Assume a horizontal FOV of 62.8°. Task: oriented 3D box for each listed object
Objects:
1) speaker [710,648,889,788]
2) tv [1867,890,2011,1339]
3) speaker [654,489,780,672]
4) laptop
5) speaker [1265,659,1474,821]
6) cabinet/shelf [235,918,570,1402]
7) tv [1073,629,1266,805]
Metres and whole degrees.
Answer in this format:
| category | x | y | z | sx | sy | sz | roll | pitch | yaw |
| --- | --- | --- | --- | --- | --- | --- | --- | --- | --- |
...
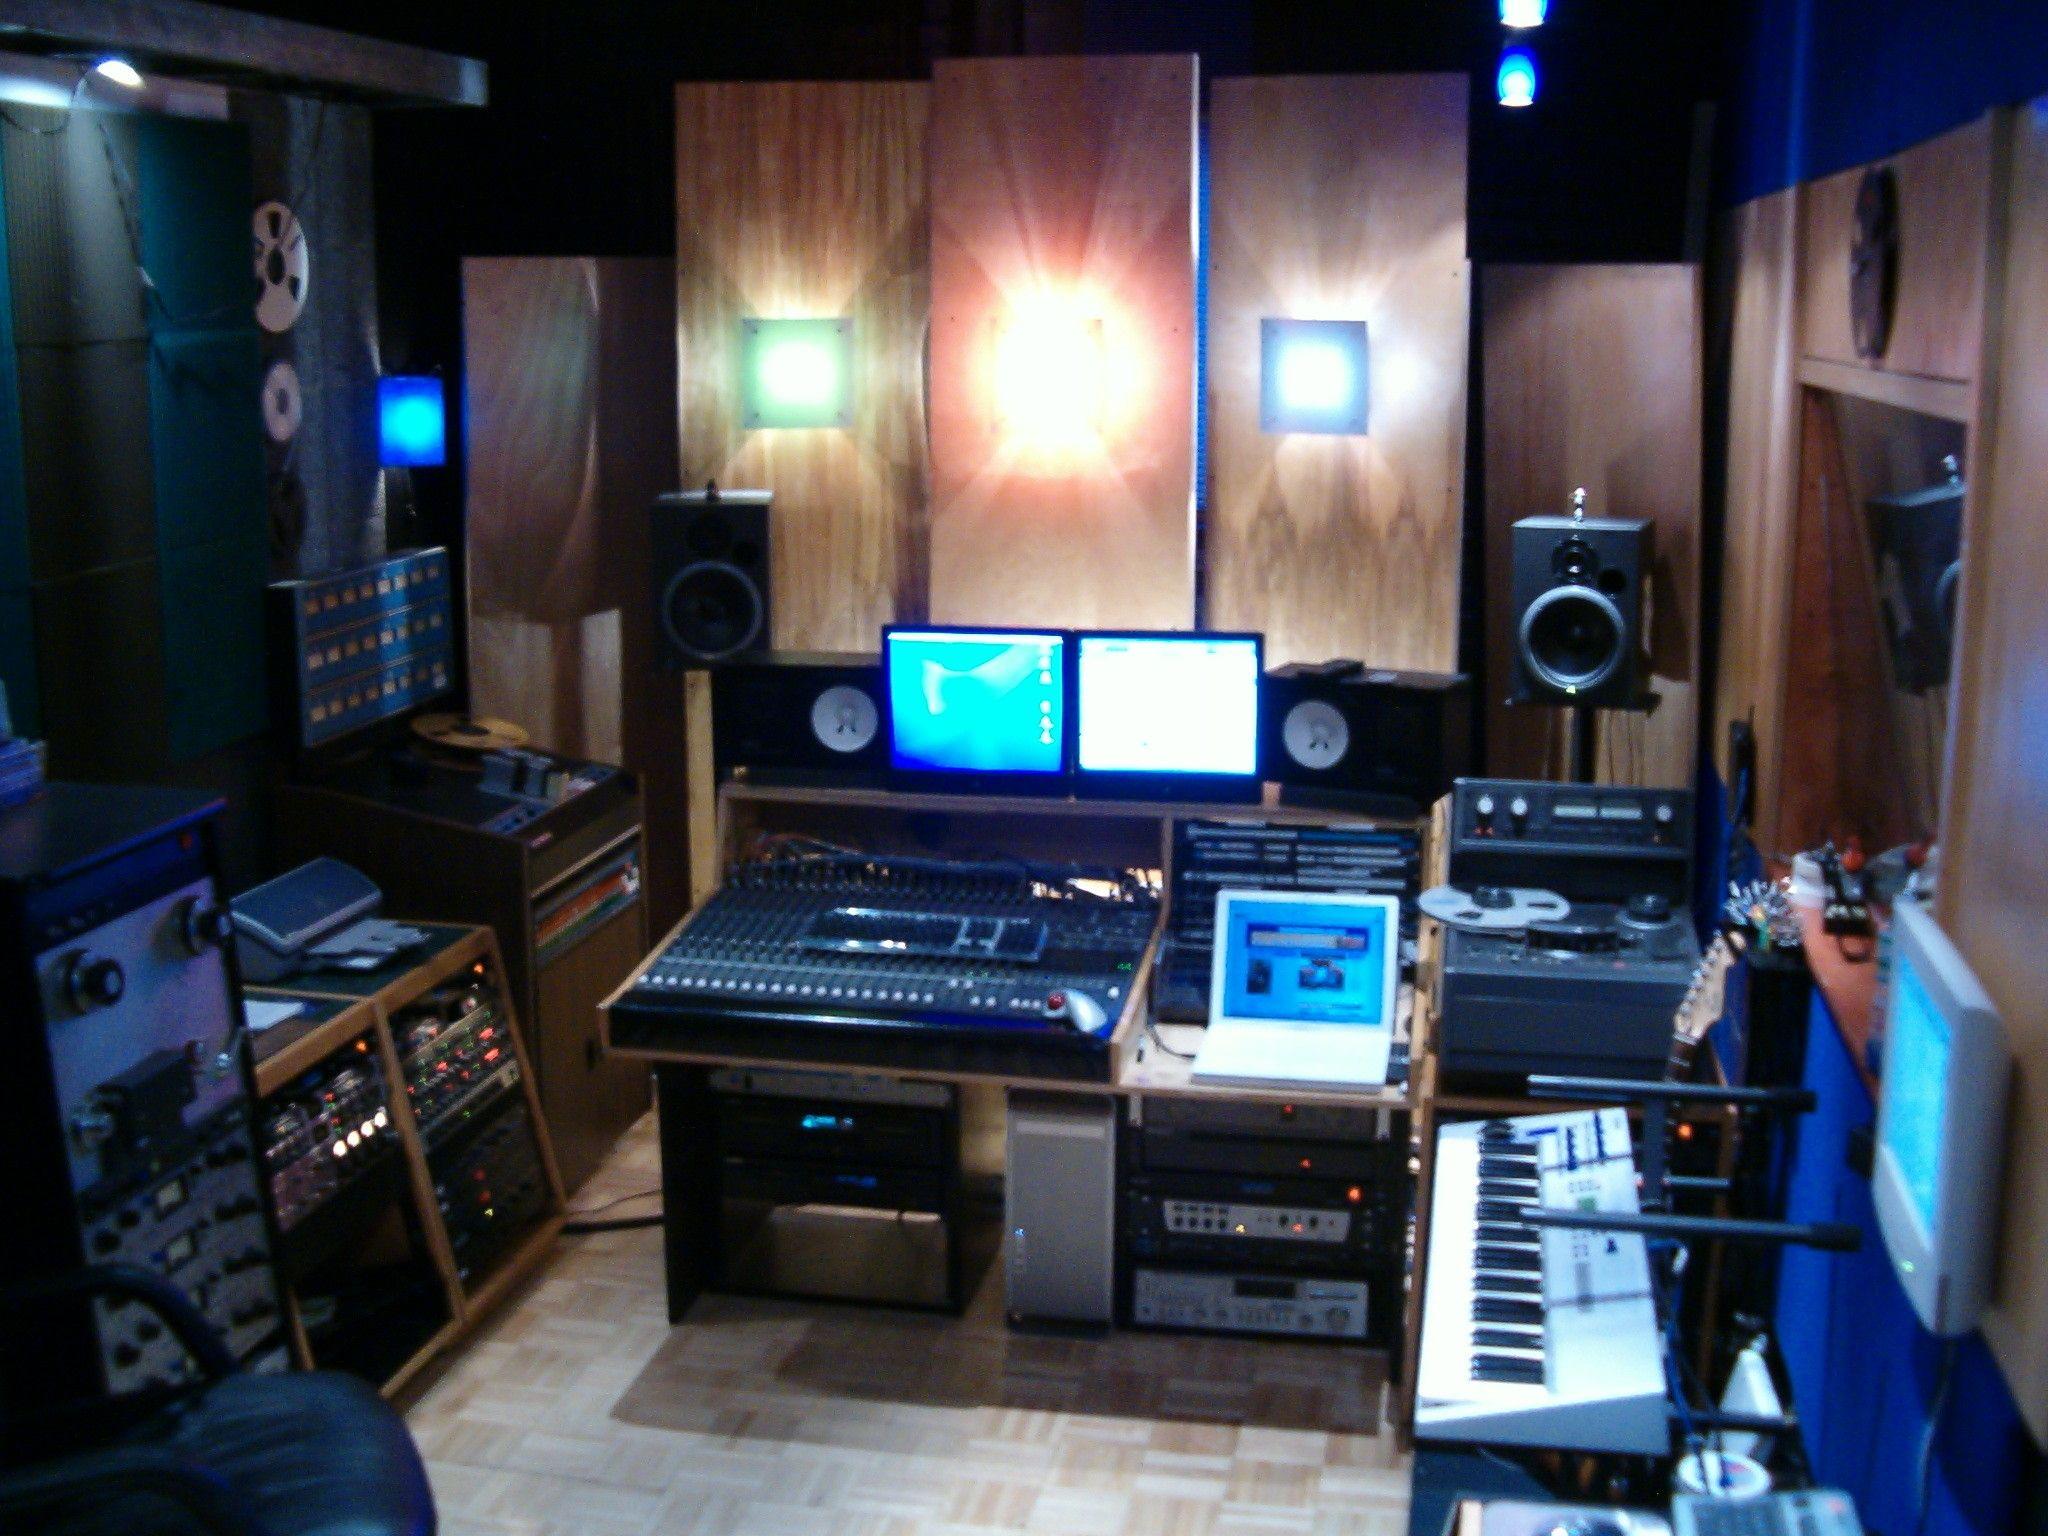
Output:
| category | x | y | z | sx | sy | sz | roll | pitch | yaw |
| --- | --- | --- | --- | --- | --- | --- | --- | --- | --- |
| speaker | -0.626 | -0.159 | 4.650 | 0.542 | 0.388 | 0.316 | 3 | 16 | 8 |
| tv | 1.220 | 0.486 | 2.244 | 0.147 | 0.556 | 0.442 | 7 | 8 | 26 |
| speaker | -0.873 | -0.542 | 4.796 | 0.347 | 0.503 | 0.215 | 7 | 9 | 27 |
| laptop | 0.728 | 0.558 | 4.338 | 0.474 | 0.385 | 0.468 | 2 | 14 | 11 |
| speaker | 0.926 | -0.123 | 4.509 | 0.621 | 0.490 | 0.353 | 5 | 13 | 23 |
| cabinet/shelf | -1.588 | 0.993 | 4.223 | 0.311 | 0.868 | 0.937 | -5 | 14 | 12 |
| tv | 0.435 | -0.129 | 4.617 | 0.686 | 0.653 | 0.369 | 1 | 5 | 10 |
